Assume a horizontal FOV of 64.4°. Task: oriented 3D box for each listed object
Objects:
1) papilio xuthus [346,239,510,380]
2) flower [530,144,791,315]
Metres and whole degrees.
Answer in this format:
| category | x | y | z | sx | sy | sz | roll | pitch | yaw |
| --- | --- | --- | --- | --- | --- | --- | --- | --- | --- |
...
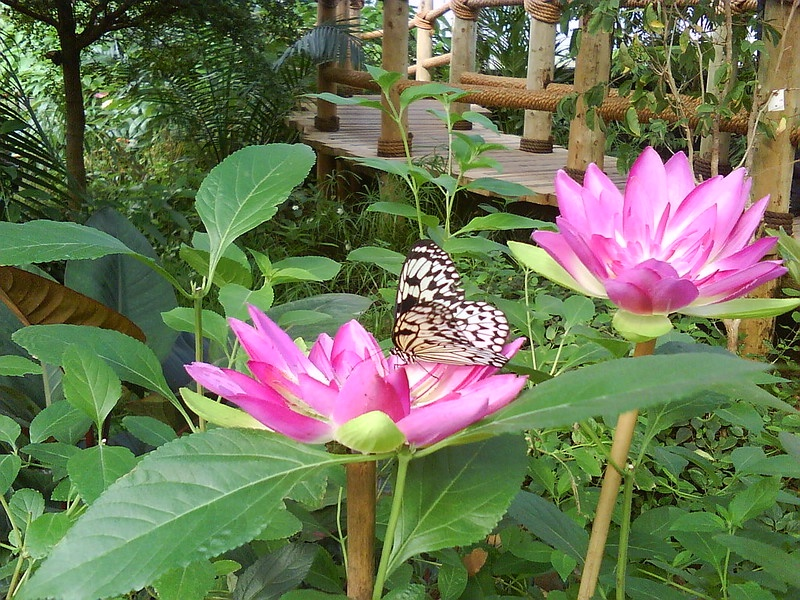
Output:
| category | x | y | z | sx | sy | sz | roll | pitch | yaw |
| --- | --- | --- | --- | --- | --- | --- | --- | --- | --- |
| papilio xuthus | 0.039 | 0.034 | 0.665 | 0.164 | 0.137 | 0.170 | 13 | -19 | -16 |
| flower | 0.305 | -0.076 | 0.739 | 0.231 | 0.099 | 0.247 | 20 | 54 | 23 |
